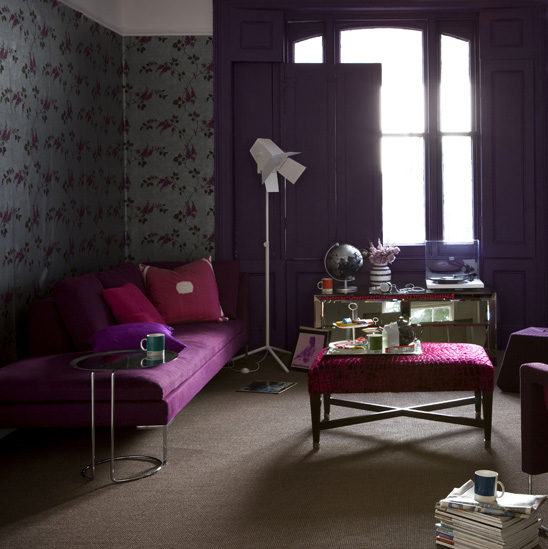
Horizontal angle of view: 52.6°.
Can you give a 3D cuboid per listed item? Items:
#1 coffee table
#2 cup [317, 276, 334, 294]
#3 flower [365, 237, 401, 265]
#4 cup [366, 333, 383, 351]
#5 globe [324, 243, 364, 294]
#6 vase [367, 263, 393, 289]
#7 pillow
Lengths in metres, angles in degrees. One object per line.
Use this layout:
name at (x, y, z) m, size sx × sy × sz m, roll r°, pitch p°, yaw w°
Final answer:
coffee table at (0.673, 0.620, 2.910) m, size 0.895 × 0.451 × 0.645 m, roll 0°, pitch 3°, yaw 11°
cup at (0.436, 0.092, 4.697) m, size 0.157 × 0.151 × 0.100 m, roll 0°, pitch 1°, yaw 4°
flower at (0.965, -0.198, 4.918) m, size 0.301 × 0.240 × 0.364 m, roll 0°, pitch 3°, yaw 12°
cup at (0.528, 0.357, 2.931) m, size 0.076 × 0.072 × 0.076 m, roll 0°, pitch -1°, yaw 0°
globe at (0.625, -0.058, 4.884) m, size 0.346 × 0.431 × 0.262 m, roll 0°, pitch 14°, yaw 2°
vase at (0.910, 0.016, 4.737) m, size 0.184 × 0.243 × 0.194 m, roll -1°, pitch -8°, yaw 14°
pillow at (-0.966, 0.161, 3.542) m, size 0.620 × 0.257 × 0.596 m, roll -11°, pitch 11°, yaw -42°
